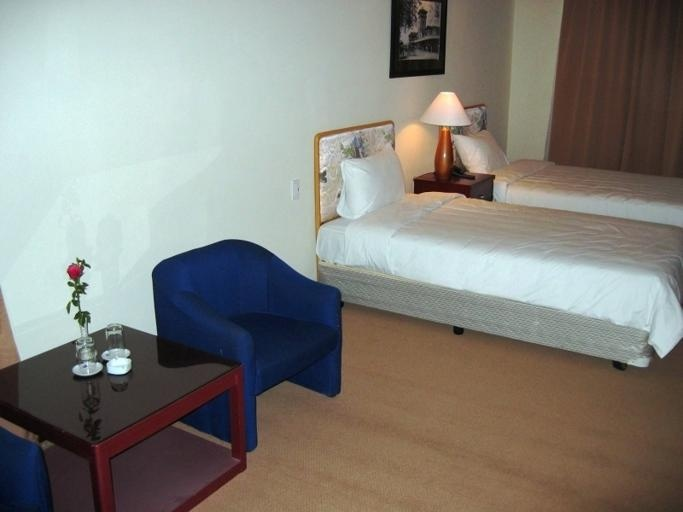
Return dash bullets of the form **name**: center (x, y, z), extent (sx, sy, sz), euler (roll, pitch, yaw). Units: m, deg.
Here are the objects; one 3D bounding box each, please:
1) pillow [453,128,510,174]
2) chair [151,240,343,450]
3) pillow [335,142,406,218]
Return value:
- **pillow**: center (1.511, -1.164, 5.795), extent (0.301, 0.309, 0.735), euler (26, 34, 26)
- **chair**: center (-0.505, 0.306, 3.171), extent (1.004, 1.154, 1.078), euler (15, 24, 35)
- **pillow**: center (0.212, -0.608, 4.301), extent (0.167, 0.349, 0.552), euler (8, 25, 39)
